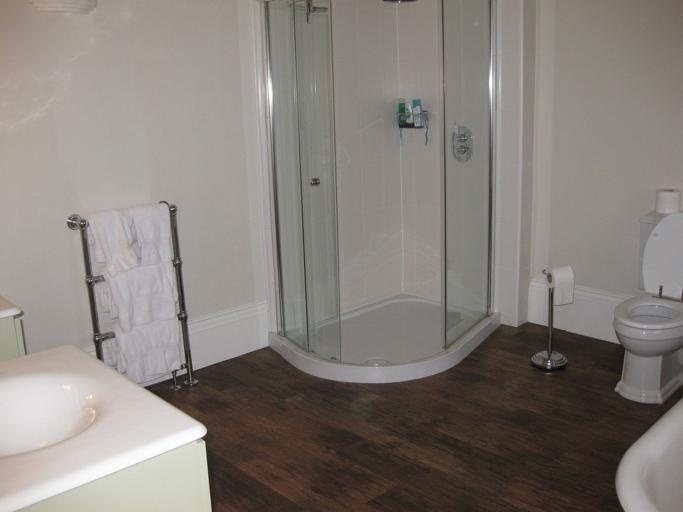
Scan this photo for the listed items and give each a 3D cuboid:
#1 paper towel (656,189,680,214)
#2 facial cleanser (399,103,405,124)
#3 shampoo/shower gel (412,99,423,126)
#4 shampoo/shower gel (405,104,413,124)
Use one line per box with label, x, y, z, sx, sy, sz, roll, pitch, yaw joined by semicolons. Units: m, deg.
paper towel;2.027;-0.330;3.415;0.121;0.164;0.154;0;5;11
facial cleanser;0.508;-1.188;4.589;0.055;0.168;0.046;0;22;6
shampoo/shower gel;0.636;-1.185;4.585;0.089;0.222;0.051;0;22;7
shampoo/shower gel;0.571;-1.184;4.598;0.056;0.158;0.051;1;22;8
